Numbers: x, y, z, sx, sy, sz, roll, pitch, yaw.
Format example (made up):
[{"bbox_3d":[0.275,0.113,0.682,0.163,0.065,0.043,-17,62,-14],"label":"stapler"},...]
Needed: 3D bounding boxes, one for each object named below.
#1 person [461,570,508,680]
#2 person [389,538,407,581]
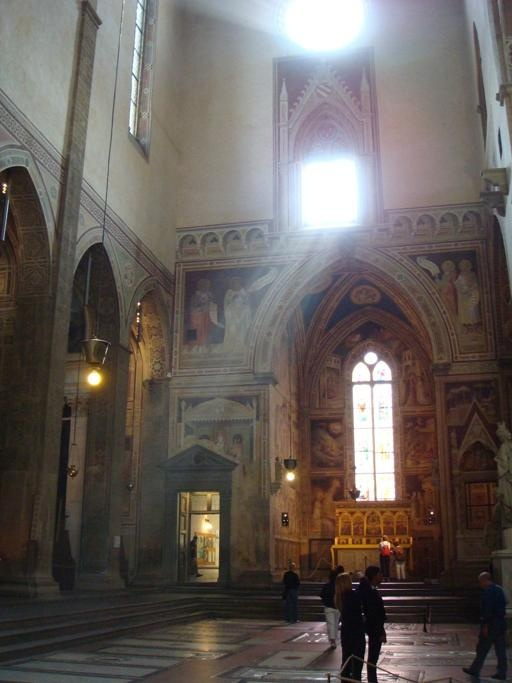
[{"bbox_3d":[2.260,2.819,6.283,0.443,0.992,0.893,-6,-15,18],"label":"person"},{"bbox_3d":[4.991,7.676,22.302,0.554,1.216,1.651,-4,-15,11],"label":"person"}]
